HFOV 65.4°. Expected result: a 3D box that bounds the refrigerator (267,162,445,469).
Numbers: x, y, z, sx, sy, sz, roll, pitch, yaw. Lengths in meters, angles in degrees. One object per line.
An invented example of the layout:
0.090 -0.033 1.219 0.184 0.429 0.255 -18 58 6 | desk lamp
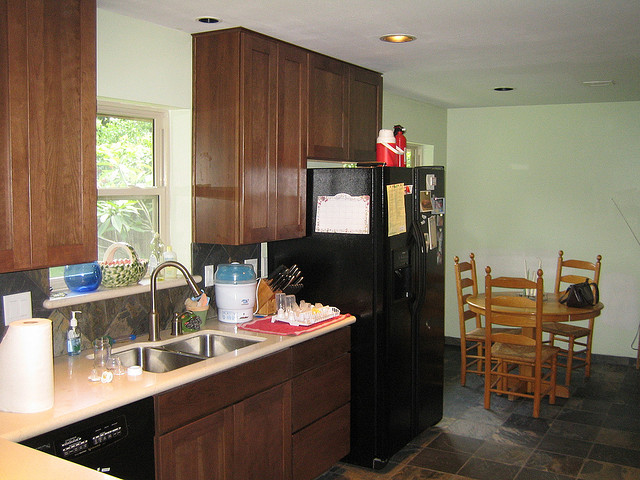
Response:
0.469 0.488 4.018 1.149 2.182 1.370 4 7 24 | refrigerator

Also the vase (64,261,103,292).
-1.253 0.177 2.729 0.209 0.173 0.206 -5 4 -21 | vase

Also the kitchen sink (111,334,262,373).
-0.744 0.614 2.739 0.647 0.111 0.602 7 7 32 | kitchen sink

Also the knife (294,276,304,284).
-0.150 0.285 3.647 0.011 0.018 0.108 -9 34 49 | knife

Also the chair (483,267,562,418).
1.864 0.897 4.594 0.626 1.244 0.603 0 1 31 | chair

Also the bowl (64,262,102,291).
-1.273 0.194 2.692 0.201 0.174 0.203 -1 1 0 | bowl

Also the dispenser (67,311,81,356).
-1.275 0.470 2.604 0.067 0.235 0.163 -3 6 -27 | dispenser

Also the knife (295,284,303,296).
-0.150 0.354 3.677 0.018 0.119 0.017 21 42 -18 | knife

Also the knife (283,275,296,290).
-0.203 0.282 3.587 0.025 0.170 0.024 41 -2 -21 | knife

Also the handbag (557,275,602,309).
2.447 0.496 4.678 0.400 0.240 0.225 -1 1 -43 | handbag

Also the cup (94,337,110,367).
-1.048 0.535 2.410 0.067 0.123 0.104 -3 6 -22 | cup

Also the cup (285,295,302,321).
-0.173 0.437 3.318 0.112 0.118 0.227 -1 5 -4 | cup
